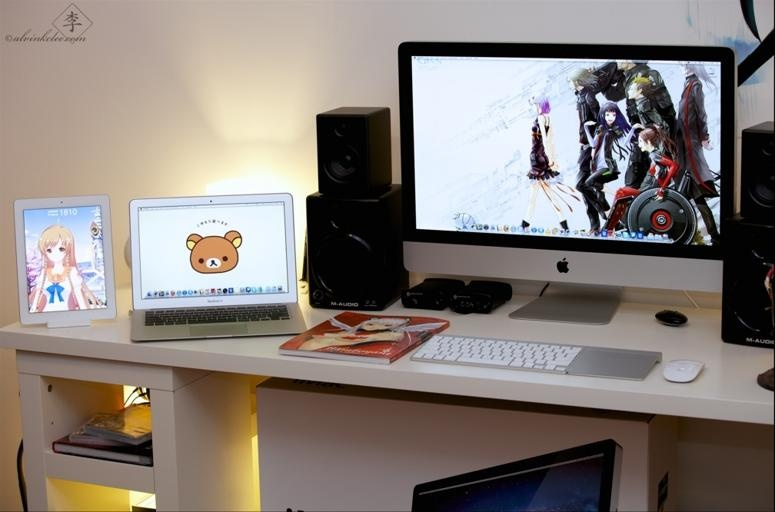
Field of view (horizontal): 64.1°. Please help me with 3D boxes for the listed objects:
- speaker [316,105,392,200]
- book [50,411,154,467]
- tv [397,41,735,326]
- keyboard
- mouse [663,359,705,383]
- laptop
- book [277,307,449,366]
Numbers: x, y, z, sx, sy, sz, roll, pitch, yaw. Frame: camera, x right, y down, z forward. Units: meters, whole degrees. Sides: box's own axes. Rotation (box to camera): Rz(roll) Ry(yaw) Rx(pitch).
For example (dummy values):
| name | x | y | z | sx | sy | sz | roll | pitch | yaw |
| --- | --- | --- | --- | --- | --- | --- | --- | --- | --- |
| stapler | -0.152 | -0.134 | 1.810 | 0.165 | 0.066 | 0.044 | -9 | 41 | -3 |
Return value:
| name | x | y | z | sx | sy | sz | roll | pitch | yaw |
| --- | --- | --- | --- | --- | --- | --- | --- | --- | --- |
| speaker | -0.102 | -0.317 | 1.886 | 0.246 | 0.340 | 0.277 | 3 | 9 | 26 |
| book | -0.815 | 0.548 | 1.846 | 0.193 | 0.045 | 0.176 | 1 | 5 | 17 |
| tv | 0.497 | -0.223 | 1.714 | 0.841 | 0.644 | 0.216 | 2 | 8 | 17 |
| keyboard | 0.363 | 0.252 | 1.532 | 0.592 | 0.063 | 0.144 | -1 | 6 | 15 |
| mouse | 0.682 | 0.260 | 1.434 | 0.049 | 0.019 | 0.083 | 3 | 21 | 29 |
| laptop | -0.522 | 0.017 | 1.906 | 0.547 | 0.350 | 0.436 | -2 | 16 | -7 |
| book | -0.048 | 0.219 | 1.692 | 0.368 | 0.071 | 0.334 | 0 | 6 | 23 |
